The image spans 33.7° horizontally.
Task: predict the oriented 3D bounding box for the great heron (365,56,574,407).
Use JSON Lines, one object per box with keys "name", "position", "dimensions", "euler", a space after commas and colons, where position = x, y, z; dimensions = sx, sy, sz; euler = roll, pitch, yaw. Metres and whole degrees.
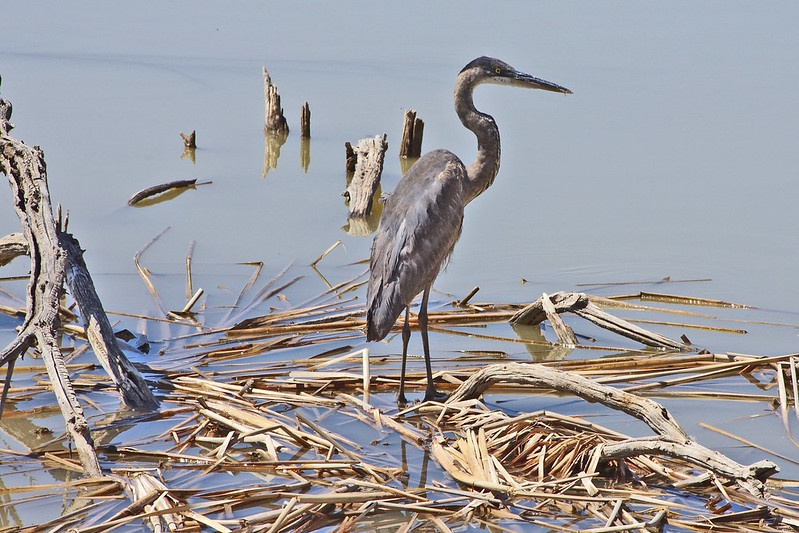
{"name": "great heron", "position": [0.390, -0.496, 14.367], "dimensions": [1.172, 3.486, 2.330], "euler": [5, 12, 10]}
